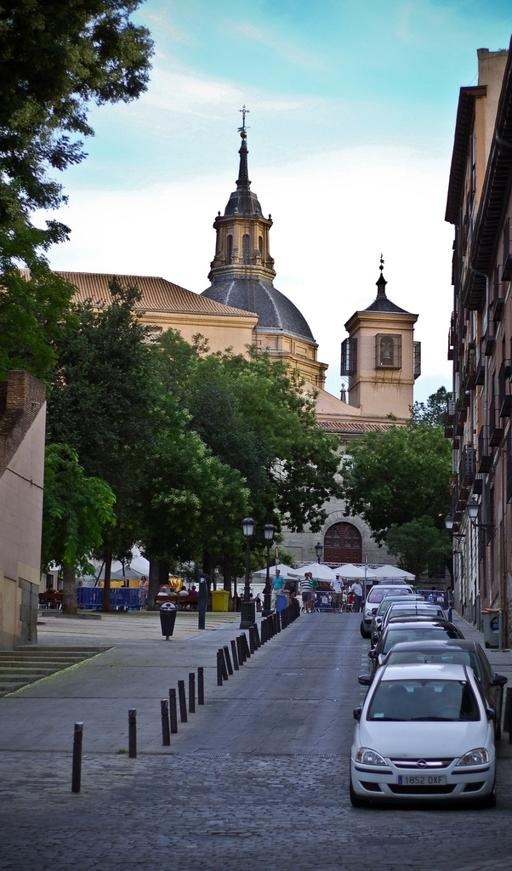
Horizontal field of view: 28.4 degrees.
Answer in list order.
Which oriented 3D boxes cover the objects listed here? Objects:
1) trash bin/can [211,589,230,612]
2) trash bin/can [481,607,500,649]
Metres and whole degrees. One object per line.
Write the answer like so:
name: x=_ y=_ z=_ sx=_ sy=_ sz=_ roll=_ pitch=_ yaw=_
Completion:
trash bin/can: x=-1.746 y=7.958 z=48.906 sx=0.879 sy=1.570 sz=1.001 roll=-1 pitch=-3 yaw=9
trash bin/can: x=6.692 y=5.401 z=28.427 sx=0.735 sy=1.300 sz=0.837 roll=-1 pitch=-5 yaw=6
